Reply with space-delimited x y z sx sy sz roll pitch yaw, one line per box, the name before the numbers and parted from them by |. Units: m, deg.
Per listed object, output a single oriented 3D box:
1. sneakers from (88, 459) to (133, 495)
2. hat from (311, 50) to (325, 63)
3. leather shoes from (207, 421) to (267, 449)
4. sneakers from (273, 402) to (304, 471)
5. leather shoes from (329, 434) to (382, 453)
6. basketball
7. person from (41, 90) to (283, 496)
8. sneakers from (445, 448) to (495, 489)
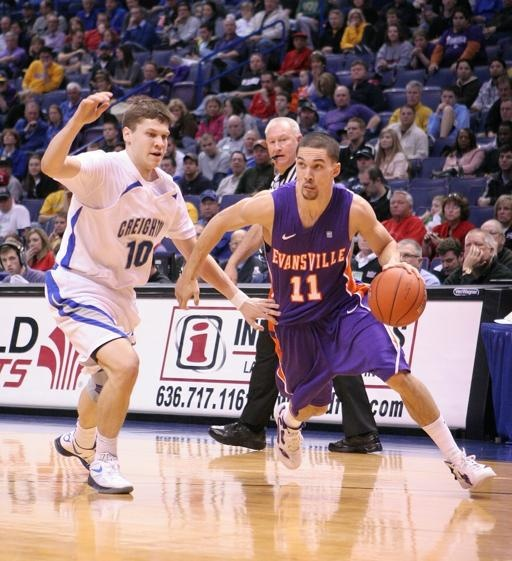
sneakers | -0.663 0.893 3.374 0.103 0.112 0.263 7 -10 -35
hat | 0.987 -3.626 11.805 0.186 0.224 0.219 -6 1 -3
leather shoes | -0.117 1.038 4.992 0.435 0.182 0.152 14 -10 -11
sneakers | 0.162 0.866 4.055 0.133 0.363 0.163 -5 -13 -23
leather shoes | 0.686 1.075 4.931 0.376 0.166 0.129 2 -8 10
basketball | 0.655 0.071 3.436 0.257 0.284 0.259 2 10 -36
person | -0.719 0.068 3.564 0.640 1.901 0.794 1 7 1
sneakers | 0.986 0.869 3.463 0.115 0.136 0.279 -42 6 -13
